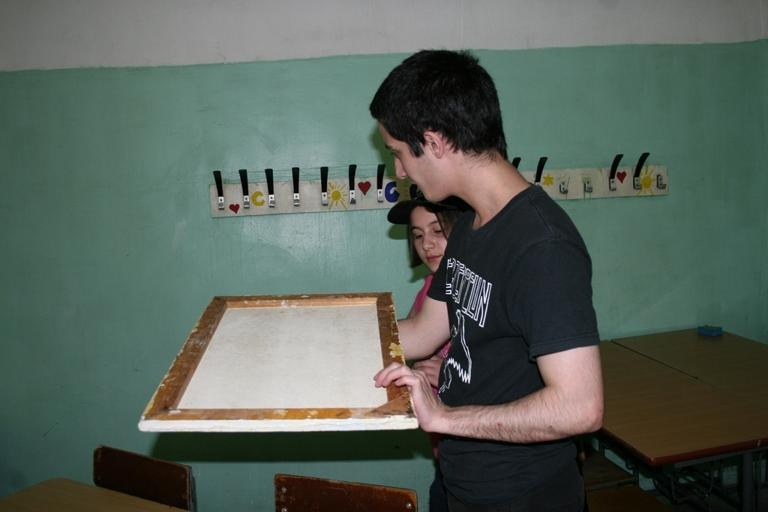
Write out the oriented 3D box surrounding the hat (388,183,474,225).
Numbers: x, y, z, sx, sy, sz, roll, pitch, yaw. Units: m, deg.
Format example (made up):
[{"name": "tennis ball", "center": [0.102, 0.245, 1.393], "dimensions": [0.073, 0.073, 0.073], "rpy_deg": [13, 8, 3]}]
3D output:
[{"name": "hat", "center": [0.192, -0.236, 2.693], "dimensions": [0.254, 0.120, 0.400], "rpy_deg": [-8, -3, -43]}]
